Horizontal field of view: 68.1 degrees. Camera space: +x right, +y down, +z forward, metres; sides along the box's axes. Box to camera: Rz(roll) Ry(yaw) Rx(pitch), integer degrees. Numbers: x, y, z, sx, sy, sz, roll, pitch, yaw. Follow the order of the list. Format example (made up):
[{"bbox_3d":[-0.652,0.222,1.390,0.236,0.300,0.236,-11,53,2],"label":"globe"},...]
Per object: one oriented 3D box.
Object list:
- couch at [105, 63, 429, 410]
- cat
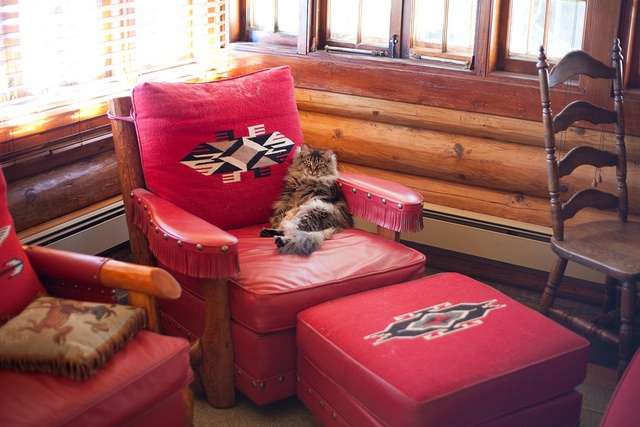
[{"bbox_3d":[-0.368,0.102,2.659,1.620,1.492,1.653,-20,34,-35],"label":"couch"},{"bbox_3d":[-0.041,-0.065,2.519,0.422,0.347,0.583,21,42,16],"label":"cat"}]
